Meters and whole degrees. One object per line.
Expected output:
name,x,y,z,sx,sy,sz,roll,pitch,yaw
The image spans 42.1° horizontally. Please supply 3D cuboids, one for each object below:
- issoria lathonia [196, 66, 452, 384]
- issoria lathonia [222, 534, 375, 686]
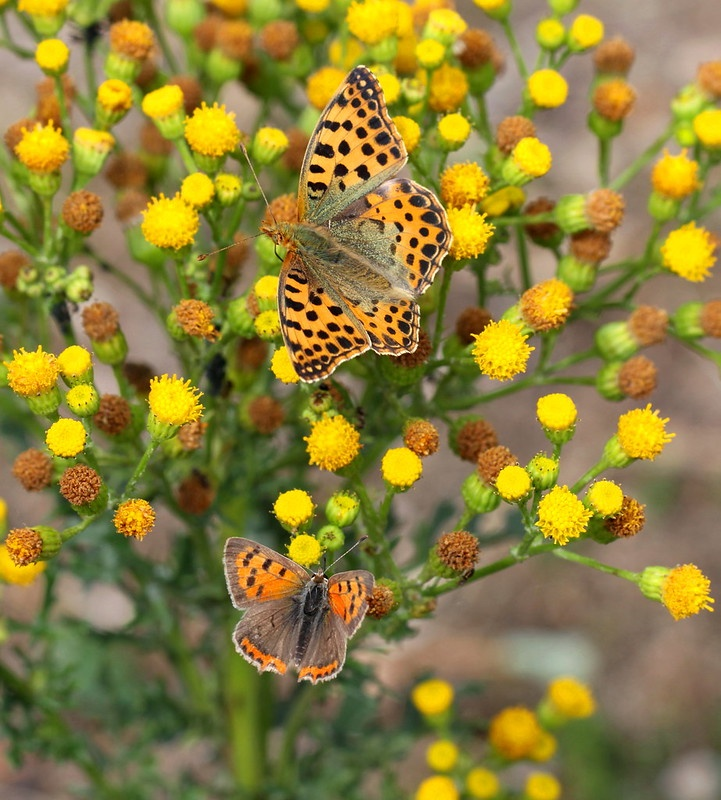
issoria lathonia,-0.009,-0.397,2.130,0.424,0.394,0.629,-10,61,-3
issoria lathonia,-0.163,0.469,2.125,0.421,0.186,0.331,14,92,-14
